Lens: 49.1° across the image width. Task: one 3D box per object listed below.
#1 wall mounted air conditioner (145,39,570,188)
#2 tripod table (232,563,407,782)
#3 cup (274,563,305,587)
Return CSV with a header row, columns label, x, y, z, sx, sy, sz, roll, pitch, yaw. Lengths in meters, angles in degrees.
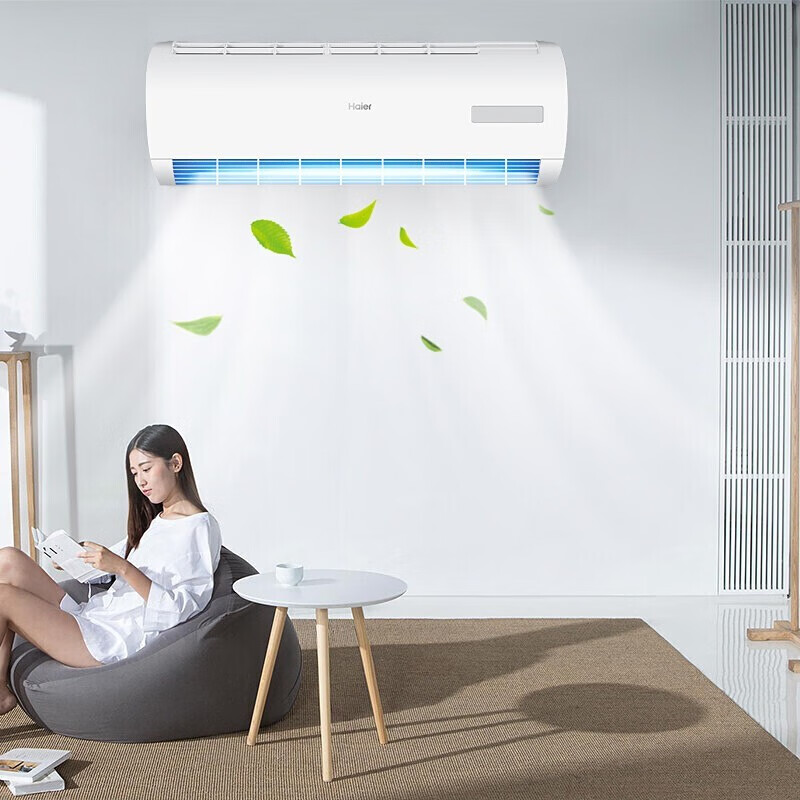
label,x,y,z,sx,sy,sz,roll,pitch,yaw
wall mounted air conditioner,-0.210,-1.348,4.109,1.937,0.607,0.311,-2,-1,-1
tripod table,-0.257,0.860,2.837,0.524,0.583,0.554,-2,-1,-22
cup,-0.356,0.561,2.816,0.082,0.046,0.079,-1,4,0
